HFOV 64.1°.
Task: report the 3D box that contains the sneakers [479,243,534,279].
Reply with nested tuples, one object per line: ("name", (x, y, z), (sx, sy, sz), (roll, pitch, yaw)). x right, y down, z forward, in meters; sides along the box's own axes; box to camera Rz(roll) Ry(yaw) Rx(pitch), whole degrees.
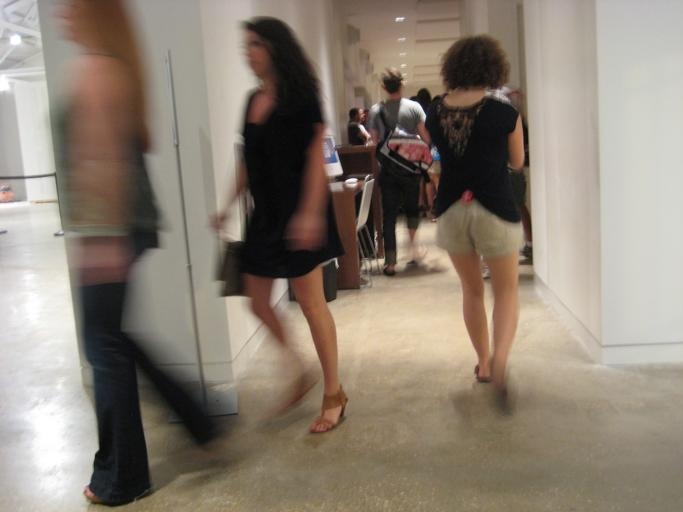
("sneakers", (0.970, 0.037, 3.225), (0.244, 0.308, 0.270), (8, 15, 42))

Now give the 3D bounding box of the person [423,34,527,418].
("person", (0.659, -0.165, 2.705), (0.449, 1.827, 0.333), (0, 11, 19))

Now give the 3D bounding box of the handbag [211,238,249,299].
("handbag", (-0.501, 0.049, 2.501), (0.082, 0.289, 0.204), (2, 10, -15))

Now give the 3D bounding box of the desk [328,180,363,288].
("desk", (0.032, -0.190, 4.624), (0.280, 0.691, 0.811), (-2, 28, 4))

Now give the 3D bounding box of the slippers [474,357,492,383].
("slippers", (0.777, 0.631, 2.998), (0.091, 0.137, 0.315), (-3, -8, 4))

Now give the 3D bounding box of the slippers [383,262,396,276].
("slippers", (0.503, 0.131, 5.749), (0.088, 0.147, 0.135), (0, -4, -2))

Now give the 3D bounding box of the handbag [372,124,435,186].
("handbag", (0.619, -1.064, 5.510), (0.591, 0.322, 0.759), (37, -18, 17))

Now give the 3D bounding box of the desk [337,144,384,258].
("desk", (0.218, -0.574, 5.766), (0.355, 0.976, 1.108), (-2, 15, 5))

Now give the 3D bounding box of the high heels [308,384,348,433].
("high heels", (-0.056, 0.756, 2.727), (0.089, 0.155, 0.279), (-4, 2, 23))
